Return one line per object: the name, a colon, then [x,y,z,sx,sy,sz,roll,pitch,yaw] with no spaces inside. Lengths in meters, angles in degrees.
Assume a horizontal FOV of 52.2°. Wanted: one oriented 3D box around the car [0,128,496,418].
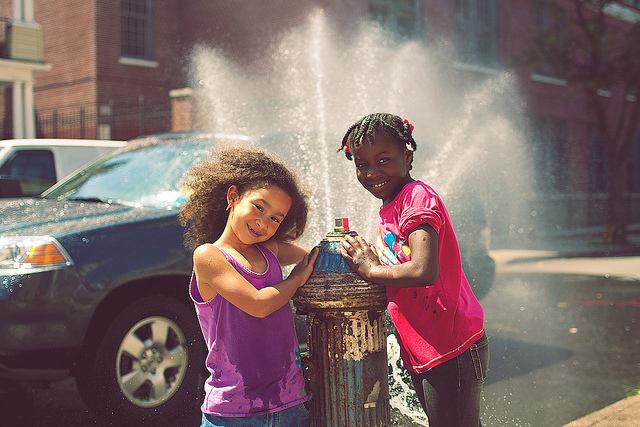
car: [-0.788,0.515,8.528,6.070,2.805,2.941,2,-4,-37]
